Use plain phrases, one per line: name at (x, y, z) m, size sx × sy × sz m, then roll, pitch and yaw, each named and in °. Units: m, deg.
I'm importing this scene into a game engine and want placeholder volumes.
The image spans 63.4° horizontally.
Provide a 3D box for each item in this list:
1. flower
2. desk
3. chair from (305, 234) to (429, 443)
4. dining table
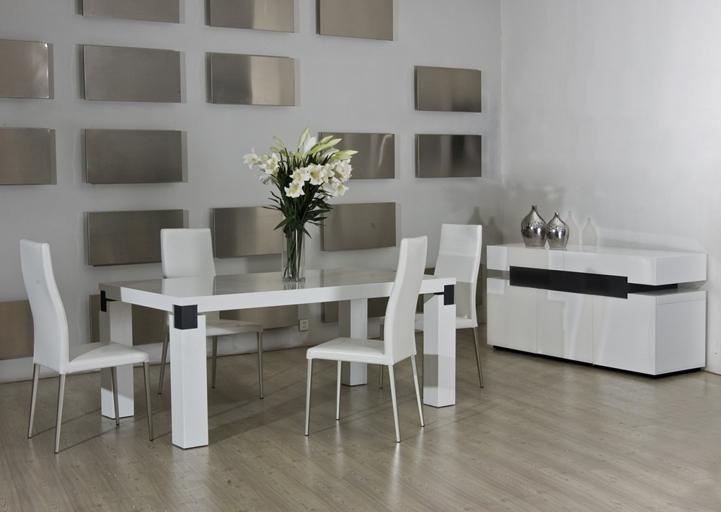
flower at (-0.525, -0.443, 4.338) m, size 0.805 × 0.996 × 0.798 m, roll -5°, pitch 2°, yaw -6°
desk at (2.171, 0.442, 5.787) m, size 0.728 × 1.112 × 1.837 m, roll -7°, pitch 7°, yaw -36°
chair at (0.051, 0.525, 3.805) m, size 0.723 × 1.293 × 0.484 m, roll 0°, pitch 6°, yaw 8°
dining table at (-0.595, 0.524, 4.744) m, size 2.369 × 1.119 × 1.500 m, roll -3°, pitch 15°, yaw -35°
